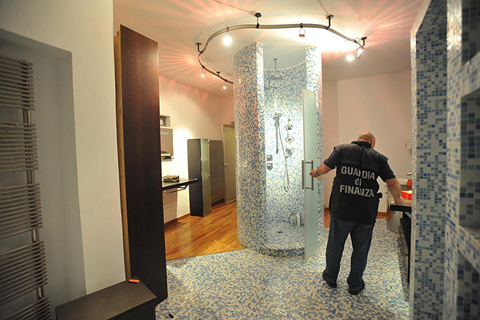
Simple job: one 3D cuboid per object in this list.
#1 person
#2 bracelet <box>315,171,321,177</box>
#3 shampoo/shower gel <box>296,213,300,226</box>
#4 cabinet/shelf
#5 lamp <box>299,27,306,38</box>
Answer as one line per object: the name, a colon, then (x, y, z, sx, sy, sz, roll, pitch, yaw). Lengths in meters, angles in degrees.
person: (1.361, 0.705, 3.977, 0.885, 1.736, 0.432, 1, 12, 13)
bracelet: (0.974, 0.166, 4.211, 0.059, 0.071, 0.079, 15, 42, 15)
shampoo/shower gel: (1.018, 1.041, 5.808, 0.060, 0.176, 0.118, 0, 12, 7)
cabinet/shelf: (-0.856, 0.372, 7.047, 0.470, 1.614, 0.555, -3, 12, -8)
lamp: (0.829, -1.697, 4.465, 0.087, 0.110, 0.223, 0, 12, 10)
